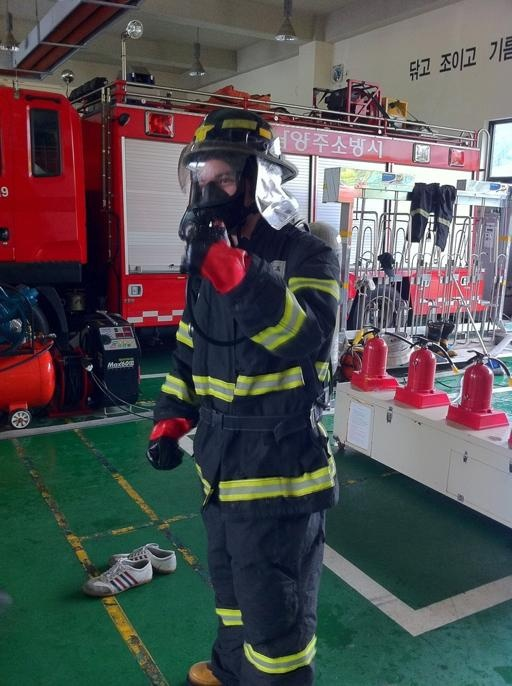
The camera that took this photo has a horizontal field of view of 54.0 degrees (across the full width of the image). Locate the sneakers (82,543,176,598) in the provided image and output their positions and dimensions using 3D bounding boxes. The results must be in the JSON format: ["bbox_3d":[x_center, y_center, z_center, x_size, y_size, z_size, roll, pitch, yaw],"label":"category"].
[{"bbox_3d":[-0.594,1.053,2.380,0.409,0.131,0.145,-4,9,-45],"label":"sneakers"}]
